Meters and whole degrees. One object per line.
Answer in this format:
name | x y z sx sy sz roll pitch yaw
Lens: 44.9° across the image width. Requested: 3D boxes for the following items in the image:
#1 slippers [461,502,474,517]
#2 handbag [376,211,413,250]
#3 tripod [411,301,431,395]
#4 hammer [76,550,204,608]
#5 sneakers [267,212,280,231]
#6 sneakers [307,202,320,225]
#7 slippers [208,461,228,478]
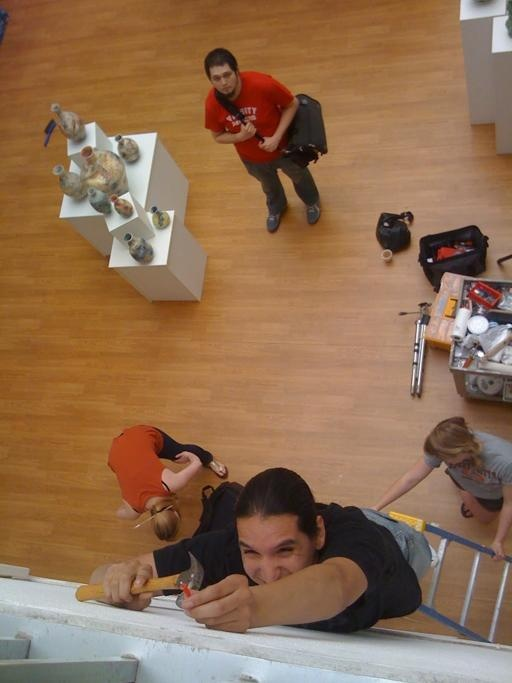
slippers | 1.040 0.836 3.064 0.039 0.061 0.020 -9 4 22
handbag | 0.840 -0.650 3.748 0.220 0.237 0.118 -2 6 4
tripod | 0.948 0.035 3.504 0.111 0.144 0.540 3 75 17
hammer | -0.239 0.501 1.286 0.272 0.124 0.037 -5 4 3
sneakers | 0.116 -0.782 4.082 0.065 0.052 0.122 9 85 12
sneakers | 0.373 -0.818 4.011 0.061 0.064 0.145 4 90 25
slippers | -0.213 0.721 3.530 0.134 0.033 0.064 44 99 18
